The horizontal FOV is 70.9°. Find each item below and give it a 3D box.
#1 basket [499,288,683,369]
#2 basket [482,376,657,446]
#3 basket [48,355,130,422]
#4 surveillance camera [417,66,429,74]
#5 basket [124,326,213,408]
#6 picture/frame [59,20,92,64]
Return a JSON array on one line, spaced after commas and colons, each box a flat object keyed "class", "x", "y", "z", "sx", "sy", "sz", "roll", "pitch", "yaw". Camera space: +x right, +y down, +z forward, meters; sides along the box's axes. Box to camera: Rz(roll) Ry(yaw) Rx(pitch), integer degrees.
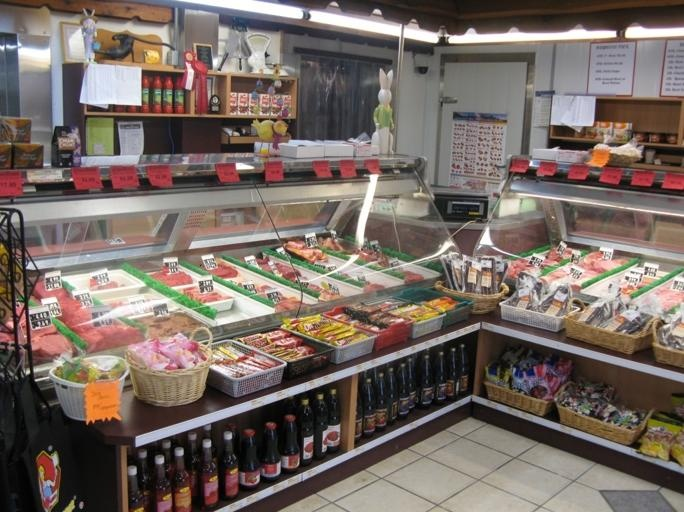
[{"class": "basket", "x": 1.631, "y": 0.459, "z": 3.394, "sx": 0.816, "sy": 0.238, "sz": 0.465, "roll": 20, "pitch": 8, "yaw": 34}, {"class": "basket", "x": 1.743, "y": 1.044, "z": 3.420, "sx": 0.675, "sy": 0.141, "sz": 0.383, "roll": 12, "pitch": 17, "yaw": 35}, {"class": "basket", "x": -1.154, "y": 0.545, "z": 2.165, "sx": 0.377, "sy": 0.235, "sz": 0.312, "roll": 3, "pitch": 18, "yaw": -12}, {"class": "surveillance camera", "x": 1.318, "y": -3.025, "z": 7.825, "sx": 0.115, "sy": 0.132, "sz": 0.286, "roll": 13, "pitch": 16, "yaw": 38}, {"class": "basket", "x": -0.819, "y": 0.546, "z": 2.437, "sx": 0.345, "sy": 0.245, "sz": 0.407, "roll": 15, "pitch": 15, "yaw": 33}, {"class": "picture/frame", "x": -2.812, "y": -2.245, "z": 5.057, "sx": 0.352, "sy": 0.396, "sz": 0.028, "roll": 13, "pitch": 21, "yaw": 20}]
